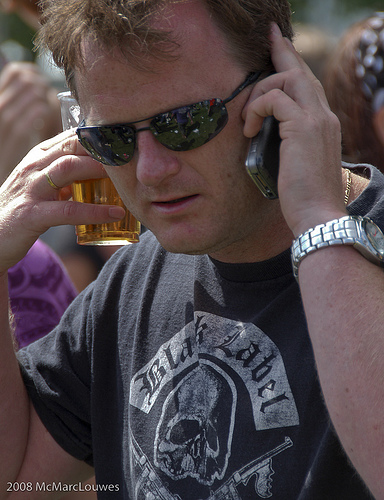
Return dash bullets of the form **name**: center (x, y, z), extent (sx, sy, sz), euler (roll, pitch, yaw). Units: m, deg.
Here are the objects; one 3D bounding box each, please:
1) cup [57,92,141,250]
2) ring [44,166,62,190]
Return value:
- **cup**: center (-0.293, -0.270, 2.458), extent (0.331, 0.541, 0.358), euler (-1, 24, 0)
- **ring**: center (-0.477, -0.245, 2.329), extent (0.017, 0.059, 0.058), euler (-31, 71, -6)
